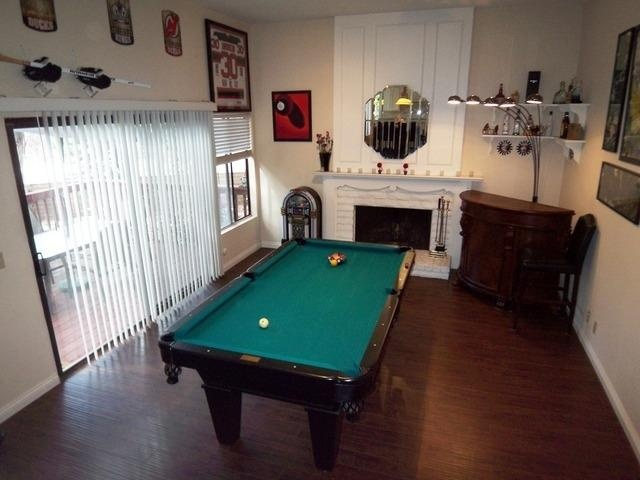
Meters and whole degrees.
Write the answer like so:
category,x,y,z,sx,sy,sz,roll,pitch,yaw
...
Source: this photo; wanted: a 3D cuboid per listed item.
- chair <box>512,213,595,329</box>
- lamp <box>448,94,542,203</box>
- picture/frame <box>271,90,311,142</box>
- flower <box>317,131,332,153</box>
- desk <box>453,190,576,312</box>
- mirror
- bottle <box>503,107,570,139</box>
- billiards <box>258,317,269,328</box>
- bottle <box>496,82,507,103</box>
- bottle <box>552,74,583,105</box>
category,x,y,z,sx,sy,sz,roll,pitch,yaw
chair,3.083,0.379,5.937,0.841,1.437,0.749,7,16,27
lamp,2.803,-1.396,6.850,1.083,1.490,1.263,5,6,18
picture/frame,-0.488,-2.230,7.893,0.783,0.954,0.059,2,12,13
flower,0.091,-1.716,7.802,0.348,0.481,0.177,0,12,4
desk,2.650,0.114,6.636,0.829,1.499,1.478,-14,24,-34
mirror,1.296,-1.984,7.338,1.068,1.319,0.063,2,14,11
bottle,3.317,-1.774,6.743,0.547,0.345,0.184,5,22,20
billiards,-0.516,0.744,4.029,0.076,0.082,0.077,-23,-2,14
bottle,2.741,-2.223,6.756,0.153,0.271,0.416,6,20,20
bottle,3.590,-2.163,6.441,0.172,0.492,0.485,-8,18,-21
